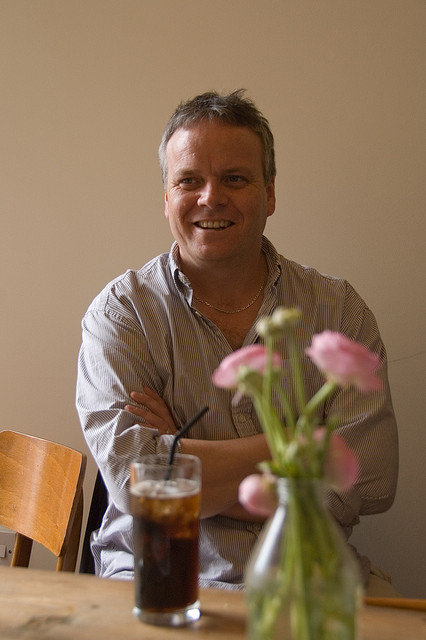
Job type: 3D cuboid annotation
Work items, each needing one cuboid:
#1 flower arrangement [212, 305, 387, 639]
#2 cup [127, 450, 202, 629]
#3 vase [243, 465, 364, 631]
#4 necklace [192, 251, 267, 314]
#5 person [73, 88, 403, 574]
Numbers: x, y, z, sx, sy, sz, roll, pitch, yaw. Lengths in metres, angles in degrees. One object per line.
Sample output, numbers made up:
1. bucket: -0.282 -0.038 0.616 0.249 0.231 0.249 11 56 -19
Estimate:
1. flower arrangement: 0.068 0.133 0.498 0.148 0.263 0.231 0 -14 14
2. cup: -0.049 0.238 0.653 0.084 0.177 0.173 3 -13 3
3. vase: 0.070 0.181 0.453 0.087 0.129 0.050 2 -14 8
4. necklace: 0.051 -0.107 1.527 0.197 0.195 0.047 9 -14 -21
5. person: 0.014 0.075 1.520 0.955 1.207 0.651 -4 9 -27
